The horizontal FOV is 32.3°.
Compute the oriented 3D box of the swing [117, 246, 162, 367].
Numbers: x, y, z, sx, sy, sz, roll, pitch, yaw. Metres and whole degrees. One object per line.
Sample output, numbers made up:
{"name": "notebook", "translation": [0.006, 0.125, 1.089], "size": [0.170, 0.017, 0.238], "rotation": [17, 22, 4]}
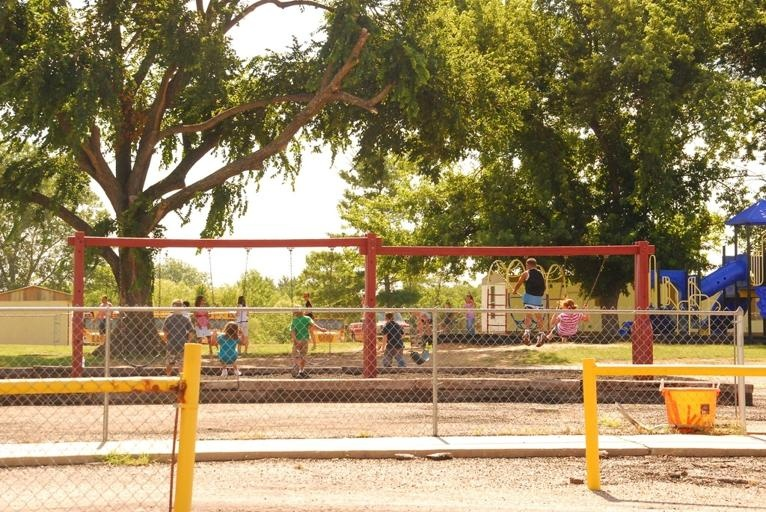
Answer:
{"name": "swing", "translation": [-10.499, 2.150, 56.390], "size": [1.915, 6.154, 1.850], "rotation": [2, -4, -6]}

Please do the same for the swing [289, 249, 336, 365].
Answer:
{"name": "swing", "translation": [-3.221, 2.549, 63.668], "size": [1.627, 5.150, 1.718], "rotation": [1, 0, 41]}
